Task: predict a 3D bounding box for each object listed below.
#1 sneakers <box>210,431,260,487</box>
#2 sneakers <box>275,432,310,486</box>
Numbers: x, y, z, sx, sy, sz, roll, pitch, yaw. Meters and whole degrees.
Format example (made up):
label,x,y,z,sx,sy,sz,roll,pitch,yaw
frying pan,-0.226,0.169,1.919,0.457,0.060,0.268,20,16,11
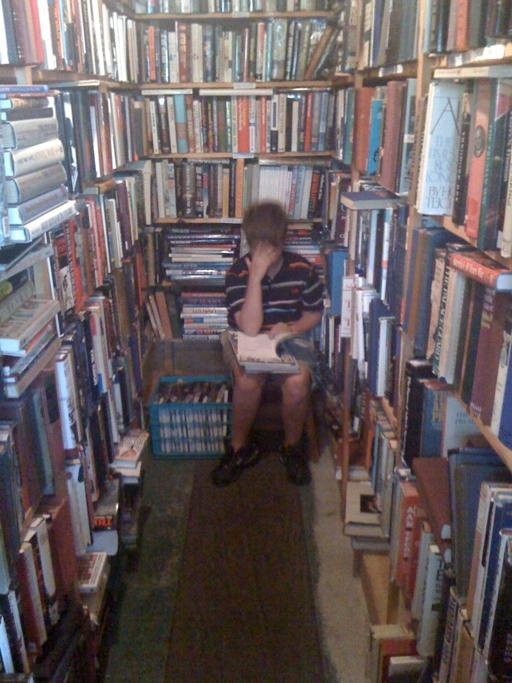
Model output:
label,x,y,z,sx,sy,sz,roll,pitch,yaw
sneakers,-0.099,0.607,2.593,0.116,0.147,0.319,37,73,19
sneakers,0.182,0.584,2.555,0.139,0.244,0.076,1,1,3
